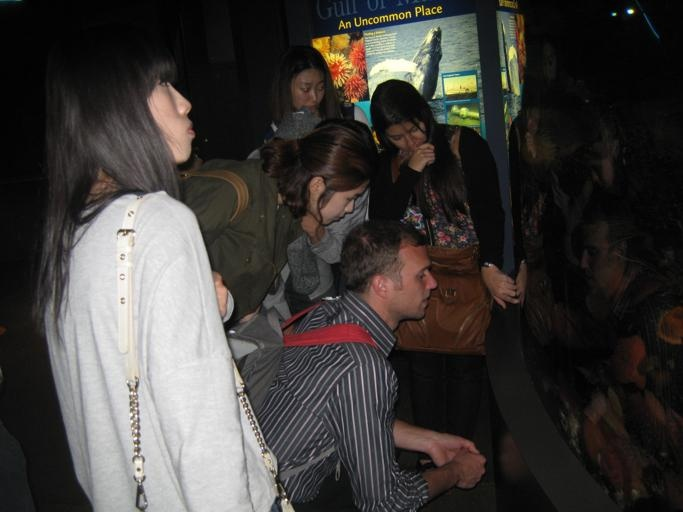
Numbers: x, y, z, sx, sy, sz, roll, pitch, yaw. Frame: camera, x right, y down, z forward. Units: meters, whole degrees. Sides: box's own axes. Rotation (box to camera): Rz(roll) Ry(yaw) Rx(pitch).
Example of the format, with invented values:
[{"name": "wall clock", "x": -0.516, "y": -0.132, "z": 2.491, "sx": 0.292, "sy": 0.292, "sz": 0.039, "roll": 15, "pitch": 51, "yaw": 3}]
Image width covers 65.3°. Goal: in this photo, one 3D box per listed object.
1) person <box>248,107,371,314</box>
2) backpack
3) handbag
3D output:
[{"name": "person", "x": -0.082, "y": -0.299, "z": 3.019, "sx": 0.361, "sy": 0.978, "sz": 0.748, "roll": -26, "pitch": 55, "yaw": -7}, {"name": "backpack", "x": -0.124, "y": 0.410, "z": 1.916, "sx": 0.474, "sy": 0.311, "sz": 0.515, "roll": -18, "pitch": -26, "yaw": 25}, {"name": "handbag", "x": 0.471, "y": 0.169, "z": 2.359, "sx": 0.427, "sy": 0.532, "sz": 0.268, "roll": 4, "pitch": 12, "yaw": 12}]
